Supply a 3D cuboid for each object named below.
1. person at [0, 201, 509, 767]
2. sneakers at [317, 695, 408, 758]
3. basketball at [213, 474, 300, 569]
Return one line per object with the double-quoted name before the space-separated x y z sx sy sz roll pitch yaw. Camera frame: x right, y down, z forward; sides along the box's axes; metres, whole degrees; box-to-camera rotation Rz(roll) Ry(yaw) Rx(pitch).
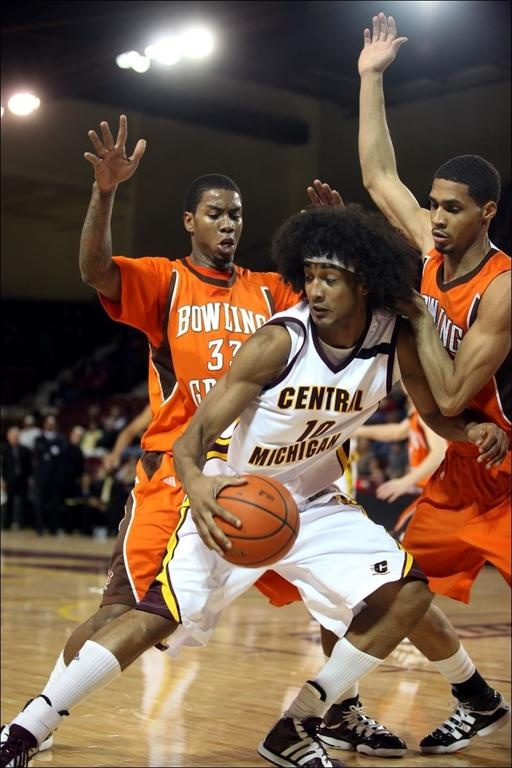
"person" 0.098 0.327 1.698 1.381 1.496 0.456 -2 3 -19
"sneakers" 0.301 1.011 2.072 0.268 0.138 0.093 -17 -33 40
"basketball" 0.002 0.298 1.490 0.121 0.194 0.180 0 3 28
